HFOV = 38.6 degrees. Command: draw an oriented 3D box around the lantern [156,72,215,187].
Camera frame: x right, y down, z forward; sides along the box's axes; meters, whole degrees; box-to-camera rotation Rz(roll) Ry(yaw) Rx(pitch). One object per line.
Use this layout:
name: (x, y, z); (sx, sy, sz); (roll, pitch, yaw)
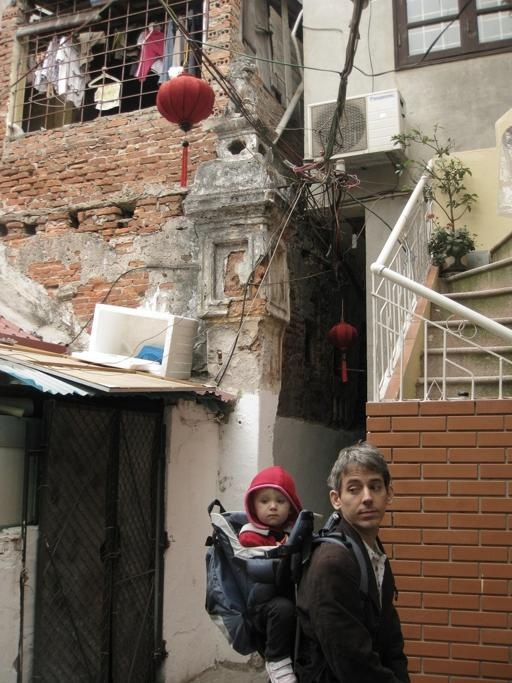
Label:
lantern: (-0.564, -1.860, 6.253); (0.583, 1.053, 0.531); (0, 4, 31)

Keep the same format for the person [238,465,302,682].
person: (0.092, 0.895, 3.037); (0.378, 0.851, 0.289); (9, -14, -37)

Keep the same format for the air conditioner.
air conditioner: (1.073, -2.204, 7.745); (0.965, 0.632, 0.522); (-4, -2, 26)

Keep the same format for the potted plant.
potted plant: (1.844, -1.489, 7.415); (0.778, 1.744, 0.675); (-4, 5, 13)
